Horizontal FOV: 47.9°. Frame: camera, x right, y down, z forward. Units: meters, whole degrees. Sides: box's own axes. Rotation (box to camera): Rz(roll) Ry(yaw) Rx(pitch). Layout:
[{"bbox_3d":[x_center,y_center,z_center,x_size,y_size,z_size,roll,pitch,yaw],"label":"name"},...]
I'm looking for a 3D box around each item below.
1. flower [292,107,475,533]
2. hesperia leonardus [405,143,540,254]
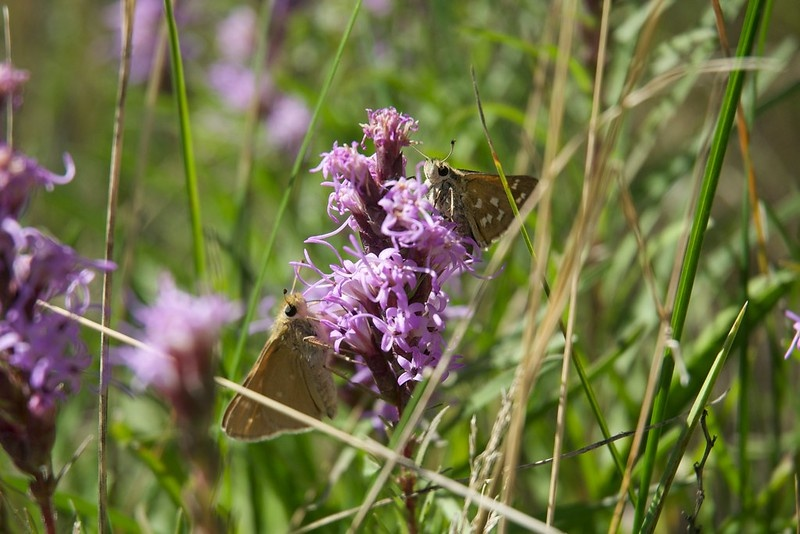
[{"bbox_3d":[-0.012,0.173,2.826,0.562,1.221,0.355,-15,-4,18],"label":"flower"},{"bbox_3d":[0.183,-0.282,3.156,0.387,0.322,0.406,20,8,-29],"label":"hesperia leonardus"}]
